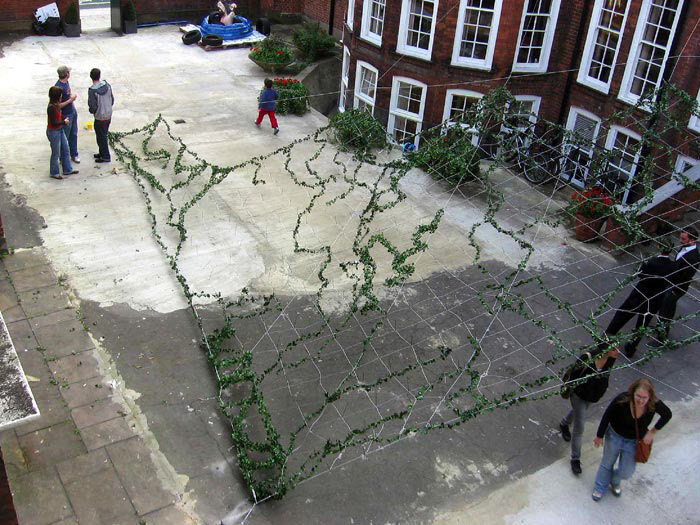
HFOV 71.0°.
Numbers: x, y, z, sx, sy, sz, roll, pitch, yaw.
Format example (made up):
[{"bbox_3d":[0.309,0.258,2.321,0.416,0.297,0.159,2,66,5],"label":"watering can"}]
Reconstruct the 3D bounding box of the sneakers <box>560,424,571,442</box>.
[{"bbox_3d":[2.738,2.180,6.288,0.096,0.098,0.225,-14,52,-2],"label":"sneakers"}]

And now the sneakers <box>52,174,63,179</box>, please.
[{"bbox_3d":[-6.003,-1.756,10.098,0.202,0.082,0.069,-3,70,-7],"label":"sneakers"}]

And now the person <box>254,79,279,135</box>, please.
[{"bbox_3d":[-2.210,-4.178,12.888,0.622,1.248,1.353,-3,35,-8],"label":"person"}]

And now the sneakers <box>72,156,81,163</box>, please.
[{"bbox_3d":[-5.941,-2.210,10.704,0.222,0.093,0.075,36,44,0],"label":"sneakers"}]

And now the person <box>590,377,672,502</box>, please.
[{"bbox_3d":[2.976,1.943,5.290,0.675,1.323,0.384,10,14,14],"label":"person"}]

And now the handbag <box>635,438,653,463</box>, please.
[{"bbox_3d":[3.067,1.991,5.177,0.136,0.314,0.084,26,42,29],"label":"handbag"}]

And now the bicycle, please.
[{"bbox_3d":[4.375,-2.846,11.999,1.614,1.487,2.073,13,36,14],"label":"bicycle"}]

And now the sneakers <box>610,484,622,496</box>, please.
[{"bbox_3d":[3.029,2.592,5.594,0.082,0.104,0.148,2,70,6],"label":"sneakers"}]

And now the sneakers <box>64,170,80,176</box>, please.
[{"bbox_3d":[-5.839,-1.866,10.292,0.257,0.104,0.081,-11,64,-23],"label":"sneakers"}]

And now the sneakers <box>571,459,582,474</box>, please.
[{"bbox_3d":[2.680,2.431,5.832,0.099,0.082,0.186,-14,47,3],"label":"sneakers"}]
